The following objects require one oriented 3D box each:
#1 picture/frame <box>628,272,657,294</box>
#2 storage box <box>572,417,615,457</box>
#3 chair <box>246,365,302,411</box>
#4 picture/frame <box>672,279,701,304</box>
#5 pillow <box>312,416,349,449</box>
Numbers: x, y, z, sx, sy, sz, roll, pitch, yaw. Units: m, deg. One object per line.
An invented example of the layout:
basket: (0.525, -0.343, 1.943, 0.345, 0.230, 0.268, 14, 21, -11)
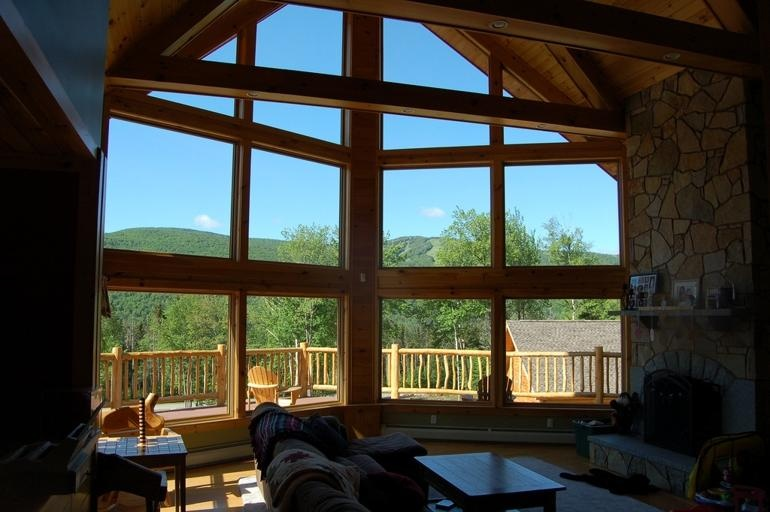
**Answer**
picture/frame: (3.331, 0.340, 7.877, 0.224, 0.345, 0.384, 4, -2, -23)
storage box: (2.814, 2.440, 8.085, 0.502, 0.399, 0.569, 7, -10, -4)
chair: (-1.532, 1.802, 8.428, 0.701, 0.605, 0.505, 3, -5, -30)
picture/frame: (3.594, 0.402, 7.268, 0.264, 0.332, 0.353, 3, -4, 11)
pillow: (-0.550, 1.879, 6.515, 0.116, 0.370, 0.380, -36, -43, 18)
